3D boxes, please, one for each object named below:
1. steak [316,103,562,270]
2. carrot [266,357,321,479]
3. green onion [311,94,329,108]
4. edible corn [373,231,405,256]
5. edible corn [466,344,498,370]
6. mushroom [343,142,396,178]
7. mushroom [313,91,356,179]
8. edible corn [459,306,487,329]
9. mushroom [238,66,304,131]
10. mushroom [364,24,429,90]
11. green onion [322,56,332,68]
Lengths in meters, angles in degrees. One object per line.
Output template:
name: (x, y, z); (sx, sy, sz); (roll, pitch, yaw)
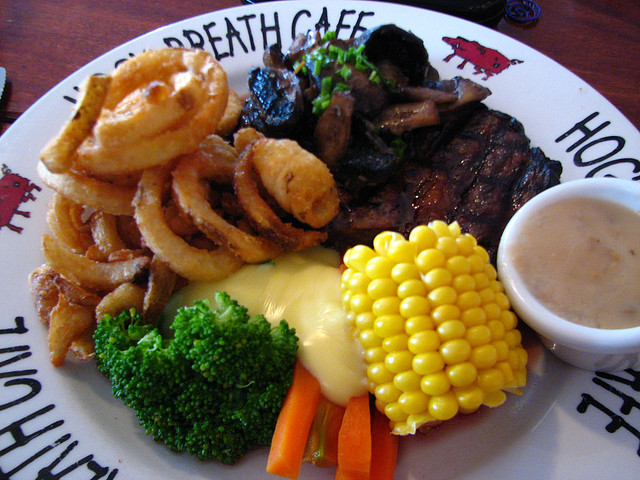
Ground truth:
steak: (0.829, -0.420, 3.994); (1.465, 0.952, 1.140); (3, 26, 12)
carrot: (-0.125, 0.920, 3.051); (0.178, 0.593, 0.145); (14, -14, 3)
green onion: (0.006, -0.829, 3.459); (0.130, 0.036, 0.039); (-40, 4, 37)
edible corn: (0.354, 0.008, 3.120); (0.128, 0.134, 0.070); (4, -37, 10)
edible corn: (0.806, 0.587, 2.887); (0.130, 0.104, 0.065); (-7, 1, 25)
mushroom: (0.297, -0.540, 3.516); (0.298, 0.084, 0.168); (-9, 39, -27)
mushroom: (0.079, -0.612, 3.343); (0.234, 0.398, 0.157); (-2, 26, 7)
edible corn: (0.772, 0.386, 2.928); (0.145, 0.098, 0.051); (-15, -14, -5)
mushroom: (-0.307, -0.867, 3.548); (0.471, 0.381, 0.323); (-8, 24, -5)
mushroom: (0.489, -1.149, 3.616); (0.267, 0.383, 0.475); (-22, 29, -36)
green onion: (0.037, -1.063, 3.474); (0.043, 0.058, 0.015); (6, -17, 10)
